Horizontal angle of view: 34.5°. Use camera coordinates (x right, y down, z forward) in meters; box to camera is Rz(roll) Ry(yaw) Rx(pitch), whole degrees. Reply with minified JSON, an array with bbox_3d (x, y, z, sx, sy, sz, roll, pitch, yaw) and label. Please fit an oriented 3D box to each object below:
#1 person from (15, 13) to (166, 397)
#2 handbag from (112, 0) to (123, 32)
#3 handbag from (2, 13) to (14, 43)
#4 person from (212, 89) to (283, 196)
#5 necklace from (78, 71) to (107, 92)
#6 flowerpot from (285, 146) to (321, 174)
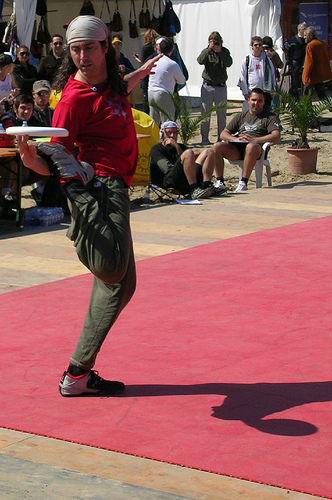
[{"bbox_3d":[-0.366,-0.157,2.413,0.455,1.789,0.504,1,4,-3],"label":"person"},{"bbox_3d":[-1.574,-7.523,17.244,0.334,1.253,0.714,0,4,-5],"label":"handbag"},{"bbox_3d":[-3.715,-5.164,12.519,0.190,0.591,1.071,-1,3,-20],"label":"handbag"},{"bbox_3d":[1.544,-2.031,10.216,1.150,2.048,1.556,2,4,15],"label":"person"},{"bbox_3d":[-0.322,-0.734,2.378,0.112,0.088,0.078,0,3,-7],"label":"necklace"},{"bbox_3d":[2.988,-1.971,11.841,0.703,0.415,0.627,-1,4,-5],"label":"flowerpot"}]
